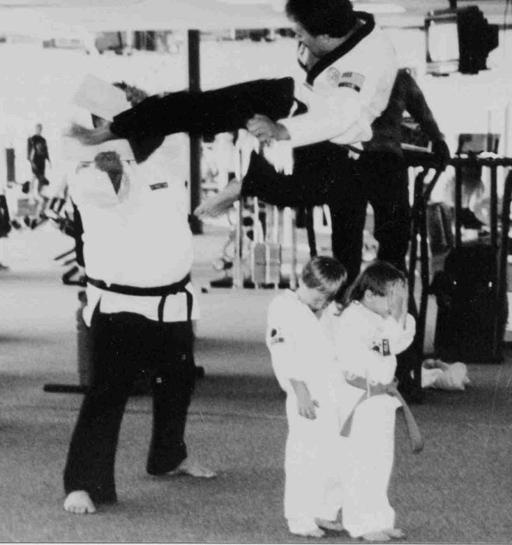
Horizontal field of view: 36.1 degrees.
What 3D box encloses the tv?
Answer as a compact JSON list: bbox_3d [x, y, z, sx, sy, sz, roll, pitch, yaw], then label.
[{"bbox_3d":[0.730,-0.821,2.808,0.210,0.226,0.058,-2,6,-4],"label":"tv"}]
